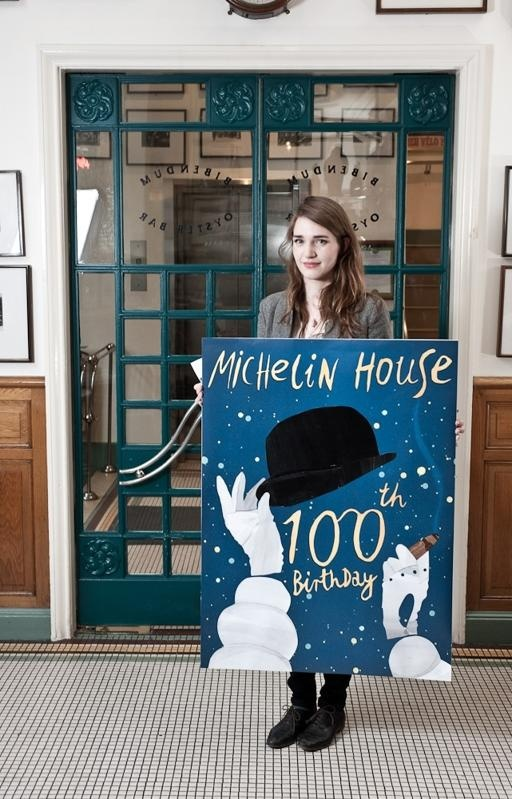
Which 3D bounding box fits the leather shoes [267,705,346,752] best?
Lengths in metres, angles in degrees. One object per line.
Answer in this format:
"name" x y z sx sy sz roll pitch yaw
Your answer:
"leather shoes" 0.143 0.931 1.831 0.105 0.067 0.175 2 -14 35
